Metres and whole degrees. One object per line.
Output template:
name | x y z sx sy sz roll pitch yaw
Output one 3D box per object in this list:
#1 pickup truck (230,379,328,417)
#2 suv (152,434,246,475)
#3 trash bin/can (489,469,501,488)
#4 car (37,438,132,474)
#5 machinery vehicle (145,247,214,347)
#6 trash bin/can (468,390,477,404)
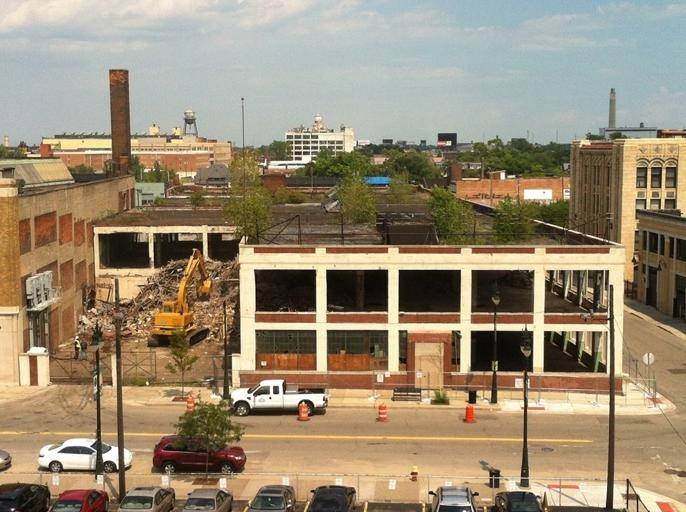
pickup truck | -4.655 10.240 90.934 5.911 2.244 2.931 2 -3 -1
suv | -9.462 12.935 82.619 5.763 2.227 2.499 0 6 -2
trash bin/can | 9.599 13.976 79.457 0.938 1.434 1.031 2 -3 6
car | -16.999 12.934 82.956 5.820 1.856 2.565 0 8 2
machinery vehicle | -14.082 4.111 111.636 4.163 7.941 10.431 1 8 12
trash bin/can | 9.413 10.193 92.166 0.660 0.898 1.071 -2 5 4
